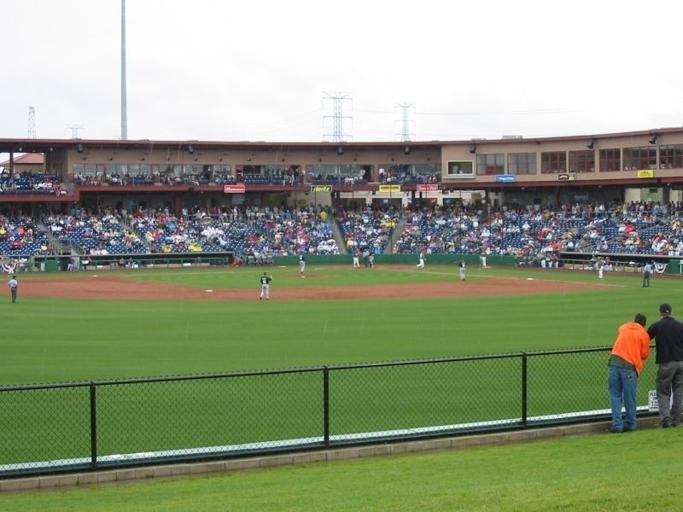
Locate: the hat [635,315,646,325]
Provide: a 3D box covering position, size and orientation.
[{"bbox_3d":[10.397,2.218,53.457,0.316,0.382,0.407,5,10,22],"label":"hat"}]

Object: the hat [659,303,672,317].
[{"bbox_3d":[11.313,1.921,53.843,0.453,0.351,0.612,0,10,8],"label":"hat"}]
